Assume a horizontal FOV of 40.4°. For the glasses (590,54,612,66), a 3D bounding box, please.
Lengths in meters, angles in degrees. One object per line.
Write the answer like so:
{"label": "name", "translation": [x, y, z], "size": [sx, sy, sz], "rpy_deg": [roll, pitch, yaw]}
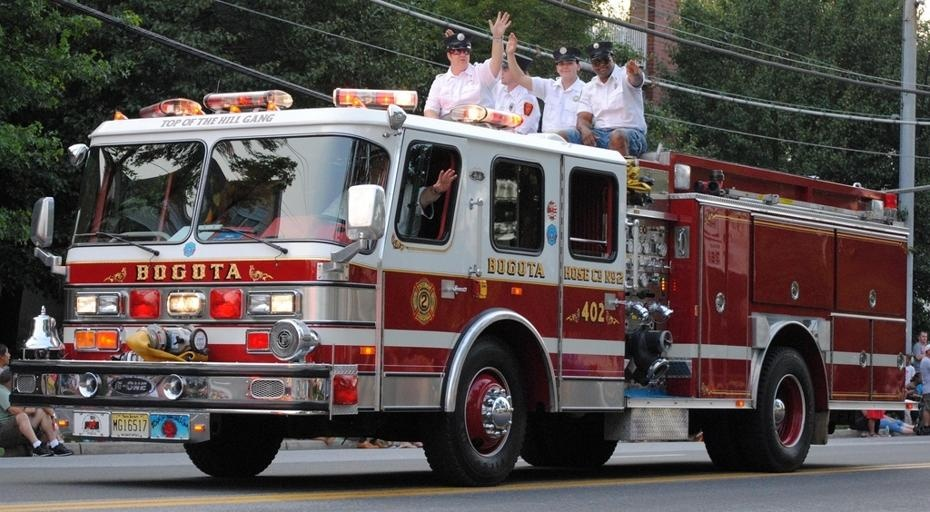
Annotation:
{"label": "glasses", "translation": [2.251, -3.145, 20.514], "size": [0.233, 0.229, 0.086], "rpy_deg": [-4, -8, 10]}

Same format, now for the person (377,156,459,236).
{"label": "person", "translation": [-0.565, -0.806, 17.647], "size": [0.741, 1.120, 0.377], "rpy_deg": [17, -17, -7]}

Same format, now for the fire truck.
{"label": "fire truck", "translation": [1.013, 0.617, 19.853], "size": [12.373, 4.236, 5.978], "rpy_deg": [8, -10, -40]}
